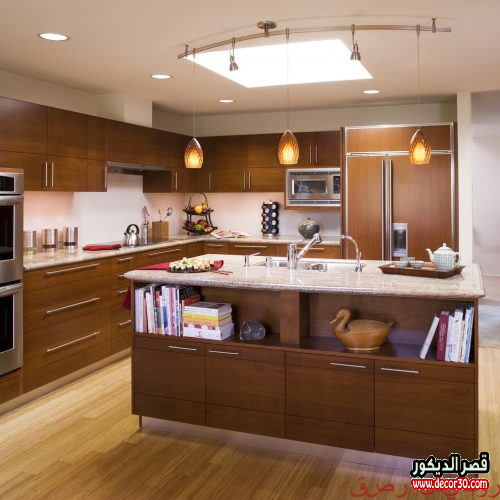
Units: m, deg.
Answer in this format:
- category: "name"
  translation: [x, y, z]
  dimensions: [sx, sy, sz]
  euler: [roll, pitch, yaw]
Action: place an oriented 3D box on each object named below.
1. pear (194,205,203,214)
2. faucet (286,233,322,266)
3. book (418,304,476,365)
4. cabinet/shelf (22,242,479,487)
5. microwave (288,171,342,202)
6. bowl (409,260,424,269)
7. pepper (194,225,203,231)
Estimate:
- category: "pear"
  translation: [-0.693, -0.552, 6.113]
  dimensions: [0.137, 0.126, 0.117]
  euler: [-1, 4, 8]
- category: "faucet"
  translation: [0.366, 0.017, 2.864]
  dimensions: [0.078, 0.204, 0.317]
  euler: [5, -11, -31]
- category: "book"
  translation: [0.957, 0.402, 2.112]
  dimensions: [0.237, 0.262, 0.089]
  euler: [2, 5, 3]
- category: "cabinet/shelf"
  translation: [0.230, 0.506, 3.940]
  dimensions: [3.513, 1.022, 3.106]
  euler: [2, 5, 32]
- category: "microwave"
  translation: [0.699, -0.774, 5.705]
  dimensions: [0.832, 0.457, 0.408]
  euler: [-5, 9, -27]
- category: "bowl"
  translation: [0.990, 0.084, 2.669]
  dimensions: [0.063, 0.025, 0.058]
  euler: [0, 4, 0]
- category: "pepper"
  translation: [-0.680, -0.298, 6.006]
  dimensions: [0.092, 0.044, 0.086]
  euler: [2, -6, -23]
